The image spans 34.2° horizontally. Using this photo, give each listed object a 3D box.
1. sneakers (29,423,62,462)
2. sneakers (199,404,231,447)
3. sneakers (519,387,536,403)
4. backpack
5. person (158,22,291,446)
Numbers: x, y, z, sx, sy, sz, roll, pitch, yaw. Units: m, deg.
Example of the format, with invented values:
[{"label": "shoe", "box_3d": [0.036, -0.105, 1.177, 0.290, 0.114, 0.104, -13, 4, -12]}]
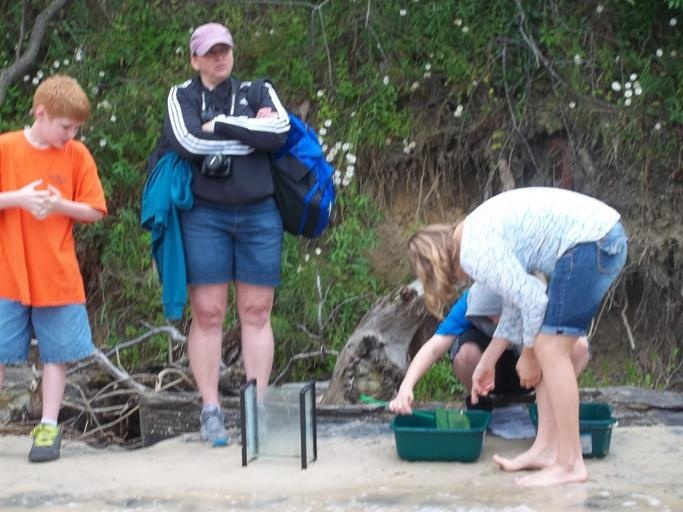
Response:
[{"label": "sneakers", "box_3d": [-1.976, 1.234, 7.525, 0.191, 0.227, 0.440, 0, 16, -9]}, {"label": "sneakers", "box_3d": [-0.872, 1.141, 7.676, 0.153, 0.218, 0.460, 3, 13, -27]}, {"label": "sneakers", "box_3d": [1.346, 1.007, 7.973, 0.056, 0.093, 0.195, -5, 19, 4]}, {"label": "backpack", "box_3d": [-0.314, -0.638, 7.599, 0.447, 1.072, 0.313, 8, 28, 25]}, {"label": "person", "box_3d": [-0.748, -0.136, 7.456, 0.823, 2.111, 0.417, -1, 0, -1]}]
